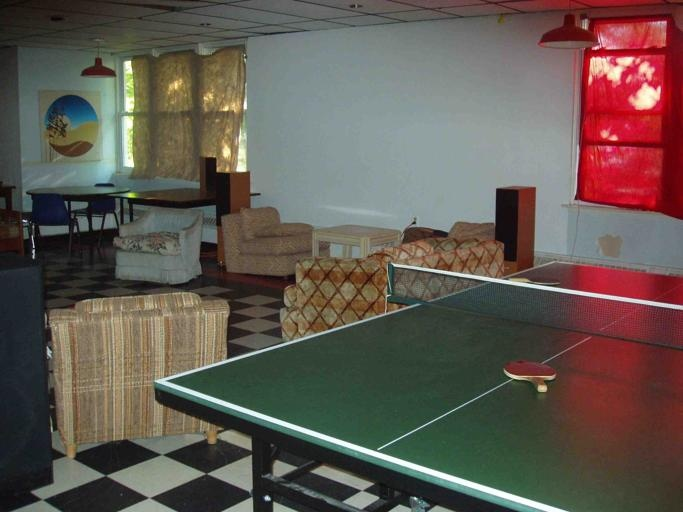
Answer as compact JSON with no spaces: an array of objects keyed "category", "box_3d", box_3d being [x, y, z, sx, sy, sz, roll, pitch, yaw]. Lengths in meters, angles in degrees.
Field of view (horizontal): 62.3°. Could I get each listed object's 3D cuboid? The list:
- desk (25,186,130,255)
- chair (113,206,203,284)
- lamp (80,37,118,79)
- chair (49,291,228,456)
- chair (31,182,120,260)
[{"category":"desk","box_3d":[-4.513,-0.461,9.860,1.333,1.417,1.447,9,11,32]},{"category":"chair","box_3d":[-2.610,-0.098,8.021,1.333,1.157,1.106,4,5,22]},{"category":"lamp","box_3d":[-3.747,-3.075,8.811,0.551,0.586,0.544,-3,10,-28]},{"category":"chair","box_3d":[-1.438,0.653,4.025,1.157,1.101,1.030,-2,7,-26]},{"category":"chair","box_3d":[-4.535,-0.294,9.765,1.251,1.881,1.117,3,6,17]}]
